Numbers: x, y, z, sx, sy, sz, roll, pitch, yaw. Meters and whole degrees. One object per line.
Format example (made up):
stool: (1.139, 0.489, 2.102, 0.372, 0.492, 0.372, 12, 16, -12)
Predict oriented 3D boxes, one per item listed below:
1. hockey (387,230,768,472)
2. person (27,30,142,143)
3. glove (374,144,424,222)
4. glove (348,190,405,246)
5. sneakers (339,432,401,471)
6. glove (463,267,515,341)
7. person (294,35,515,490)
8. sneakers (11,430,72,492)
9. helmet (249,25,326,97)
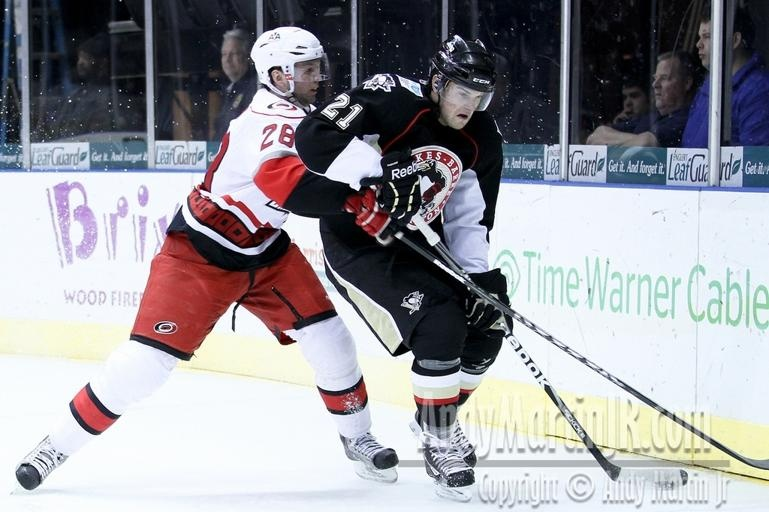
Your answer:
hockey: (0.996, 0.456, 4.466, 1.578, 0.224, 0.278, 35, 21, -10)
person: (-2.090, -1.210, 6.914, 0.829, 0.719, 0.792, 6, 13, 45)
glove: (0.081, -0.303, 3.933, 0.196, 0.293, 0.077, -1, 11, -28)
glove: (-0.036, -0.159, 4.035, 0.151, 0.261, 0.104, -39, 11, 15)
sneakers: (-0.091, 0.905, 4.421, 0.129, 0.166, 0.350, -12, 6, -35)
glove: (0.467, 0.216, 4.140, 0.210, 0.284, 0.102, -43, -17, 31)
person: (0.119, 0.035, 4.163, 0.875, 1.981, 0.476, 0, 11, 8)
sneakers: (-1.675, 0.994, 4.383, 0.184, 0.119, 0.335, 11, 6, -15)
helmet: (-0.451, -0.929, 4.466, 0.368, 0.344, 0.283, 4, 22, 23)
